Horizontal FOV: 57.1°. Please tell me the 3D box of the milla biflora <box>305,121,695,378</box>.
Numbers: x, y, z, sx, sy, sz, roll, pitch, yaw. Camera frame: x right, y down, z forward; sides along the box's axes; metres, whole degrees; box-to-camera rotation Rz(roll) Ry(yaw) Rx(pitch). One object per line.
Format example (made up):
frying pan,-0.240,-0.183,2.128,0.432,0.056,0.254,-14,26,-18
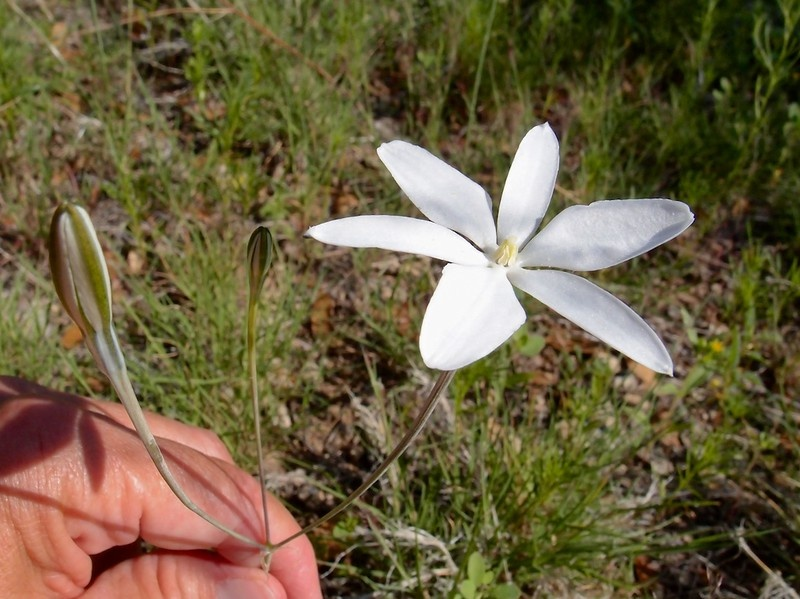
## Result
milla biflora,0.282,-0.169,1.960,0.939,0.300,0.713,-1,44,-3
